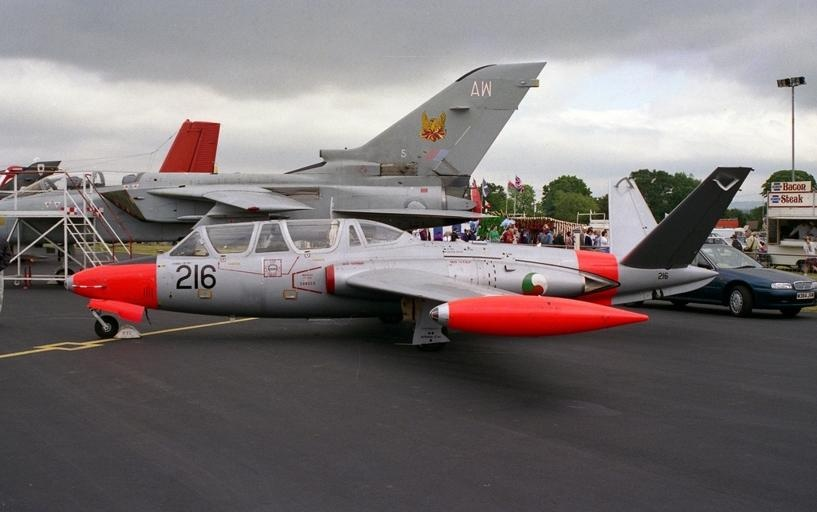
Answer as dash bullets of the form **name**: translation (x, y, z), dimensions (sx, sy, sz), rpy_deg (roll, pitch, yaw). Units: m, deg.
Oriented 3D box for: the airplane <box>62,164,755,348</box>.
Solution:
- **airplane**: translation (-0.337, 0.337, 13.547), dimensions (8.302, 1.933, 5.493), rpy_deg (0, 1, -4)
